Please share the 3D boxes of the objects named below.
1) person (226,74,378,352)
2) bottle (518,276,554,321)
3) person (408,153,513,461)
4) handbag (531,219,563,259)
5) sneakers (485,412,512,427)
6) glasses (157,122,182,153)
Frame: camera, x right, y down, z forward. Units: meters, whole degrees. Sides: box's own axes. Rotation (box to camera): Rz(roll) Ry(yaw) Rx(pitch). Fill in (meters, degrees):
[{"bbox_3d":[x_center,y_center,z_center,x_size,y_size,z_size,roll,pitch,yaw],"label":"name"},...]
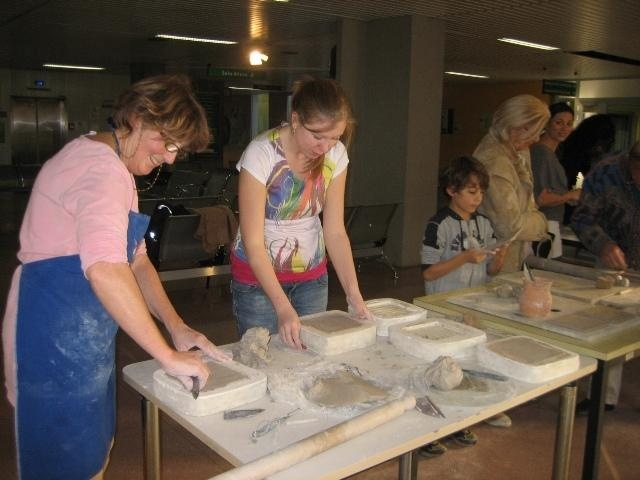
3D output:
[{"bbox_3d":[-0.087,-0.114,2.275,0.595,1.065,0.619,-7,14,-19],"label":"person"},{"bbox_3d":[0.949,0.264,2.376,0.157,0.168,0.158,-1,-1,0],"label":"bottle"},{"bbox_3d":[0.884,0.270,3.281,0.534,1.531,0.533,-26,29,-35],"label":"person"},{"bbox_3d":[1.533,-0.004,3.674,0.154,0.278,0.158,-37,51,-18],"label":"handbag"},{"bbox_3d":[1.088,1.091,3.321,0.157,0.052,0.091,0,4,2],"label":"sneakers"},{"bbox_3d":[-0.466,-0.316,1.702,0.060,0.084,0.071,-6,13,-13],"label":"glasses"}]
